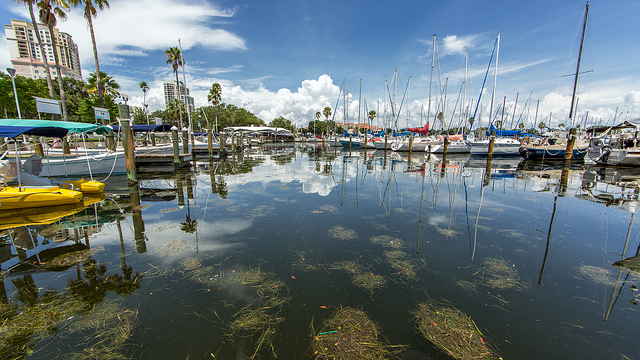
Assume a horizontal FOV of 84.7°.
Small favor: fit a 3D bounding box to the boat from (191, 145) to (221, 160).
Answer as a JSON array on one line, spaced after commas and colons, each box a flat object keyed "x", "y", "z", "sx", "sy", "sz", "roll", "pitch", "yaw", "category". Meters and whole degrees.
[{"x": -12.117, "y": -3.103, "z": 37.033, "sx": 2.823, "sy": 1.256, "sz": 4.789, "roll": -2, "pitch": 10, "yaw": -20, "category": "boat"}]

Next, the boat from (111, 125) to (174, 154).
[{"x": -14.909, "y": -3.422, "z": 29.492, "sx": 5.472, "sy": 2.160, "sz": 5.705, "roll": -2, "pitch": 5, "yaw": -18, "category": "boat"}]

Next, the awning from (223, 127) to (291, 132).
[{"x": -13.042, "y": -10.704, "z": 75.485, "sx": 10.979, "sy": 0.850, "sz": 6.855, "roll": -1, "pitch": 10, "yaw": -15, "category": "awning"}]

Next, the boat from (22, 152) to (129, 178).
[{"x": -15.235, "y": -0.571, "z": 22.356, "sx": 7.344, "sy": 1.744, "sz": 2.255, "roll": 1, "pitch": 15, "yaw": -25, "category": "boat"}]

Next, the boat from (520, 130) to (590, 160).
[{"x": 23.018, "y": -3.506, "z": 34.407, "sx": 4.918, "sy": 2.628, "sz": 14.275, "roll": 9, "pitch": 12, "yaw": 37, "category": "boat"}]

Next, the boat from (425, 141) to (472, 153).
[{"x": 15.580, "y": -3.660, "z": 42.388, "sx": 5.876, "sy": 1.451, "sz": 1.805, "roll": -1, "pitch": 14, "yaw": -1, "category": "boat"}]

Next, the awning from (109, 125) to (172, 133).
[{"x": -14.932, "y": -4.253, "z": 29.311, "sx": 3.285, "sy": 0.724, "sz": 3.105, "roll": -1, "pitch": 1, "yaw": -11, "category": "awning"}]
